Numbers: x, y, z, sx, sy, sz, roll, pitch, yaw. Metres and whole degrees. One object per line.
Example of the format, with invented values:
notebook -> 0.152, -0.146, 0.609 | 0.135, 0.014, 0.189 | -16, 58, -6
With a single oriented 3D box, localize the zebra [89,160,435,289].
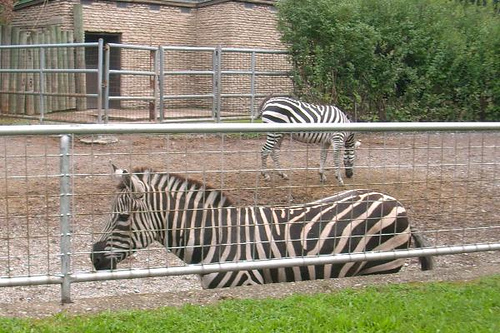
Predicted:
zebra -> 0.334, 1.378, 13.455 | 5.477, 2.776, 1.281 | -4, 7, -12

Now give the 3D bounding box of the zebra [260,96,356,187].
zebra -> 1.192, -0.590, 17.783 | 2.883, 1.857, 0.668 | 7, -15, -26
